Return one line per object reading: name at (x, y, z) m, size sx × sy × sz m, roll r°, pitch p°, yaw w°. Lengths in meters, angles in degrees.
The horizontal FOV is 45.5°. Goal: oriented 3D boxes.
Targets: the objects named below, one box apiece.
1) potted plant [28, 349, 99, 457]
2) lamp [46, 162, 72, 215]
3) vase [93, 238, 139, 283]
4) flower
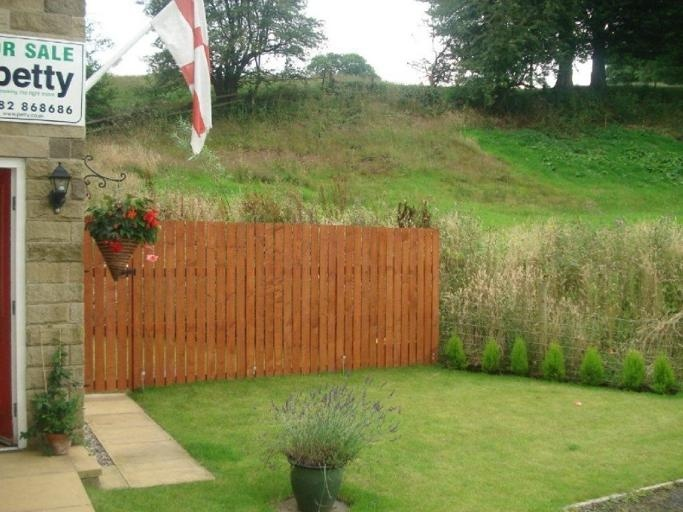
potted plant at (-3.769, 1.880, 10.676) m, size 0.701 × 1.349 × 0.409 m, roll -1°, pitch 9°, yaw -13°
lamp at (-3.713, -0.917, 10.731) m, size 0.256 × 0.690 × 0.278 m, roll 2°, pitch 7°, yaw -17°
vase at (-3.276, 0.045, 11.899) m, size 0.556 × 0.587 × 0.592 m, roll -1°, pitch 0°, yaw -35°
flower at (-3.211, -0.287, 11.882) m, size 0.975 × 1.000 × 1.049 m, roll -11°, pitch -20°, yaw 18°
